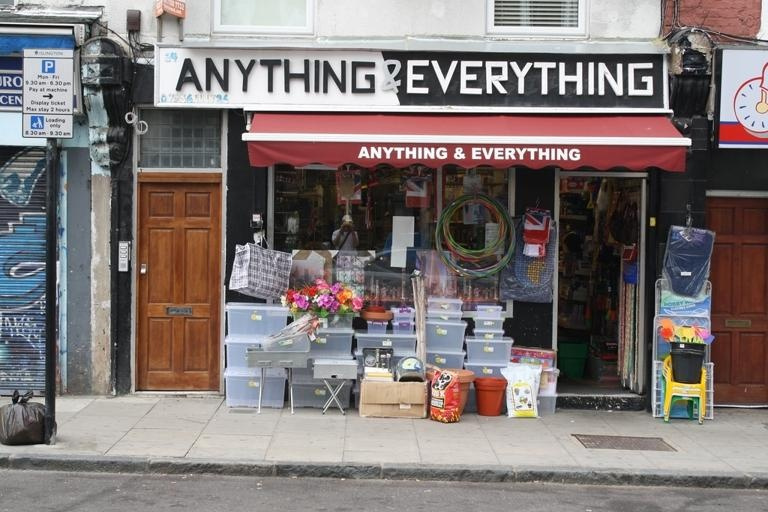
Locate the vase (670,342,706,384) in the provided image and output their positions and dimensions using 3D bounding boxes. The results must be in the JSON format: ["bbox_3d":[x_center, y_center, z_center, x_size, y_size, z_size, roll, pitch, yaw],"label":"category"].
[{"bbox_3d":[4.721,1.689,16.679,0.582,0.593,0.605,1,-6,-5],"label":"vase"}]

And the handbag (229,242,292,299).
[{"bbox_3d":[-2.011,0.259,16.865,0.768,0.669,0.316,14,-11,-34],"label":"handbag"}]

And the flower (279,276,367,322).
[{"bbox_3d":[-0.984,0.725,16.777,0.806,0.482,0.795,2,-1,-28],"label":"flower"}]

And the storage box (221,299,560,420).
[{"bbox_3d":[-0.234,1.548,17.032,4.578,1.347,1.090,-1,1,-11],"label":"storage box"}]

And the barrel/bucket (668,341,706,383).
[{"bbox_3d":[4.740,1.657,16.465,0.586,0.587,0.593,1,-7,0],"label":"barrel/bucket"}]

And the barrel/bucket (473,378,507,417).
[{"bbox_3d":[1.674,2.220,16.634,0.539,0.476,0.547,1,-4,0],"label":"barrel/bucket"}]

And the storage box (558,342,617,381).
[{"bbox_3d":[3.586,1.853,18.588,0.578,0.450,0.928,1,2,8],"label":"storage box"}]

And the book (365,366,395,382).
[{"bbox_3d":[-0.076,1.836,16.467,0.471,0.164,0.188,-1,1,-3],"label":"book"}]
